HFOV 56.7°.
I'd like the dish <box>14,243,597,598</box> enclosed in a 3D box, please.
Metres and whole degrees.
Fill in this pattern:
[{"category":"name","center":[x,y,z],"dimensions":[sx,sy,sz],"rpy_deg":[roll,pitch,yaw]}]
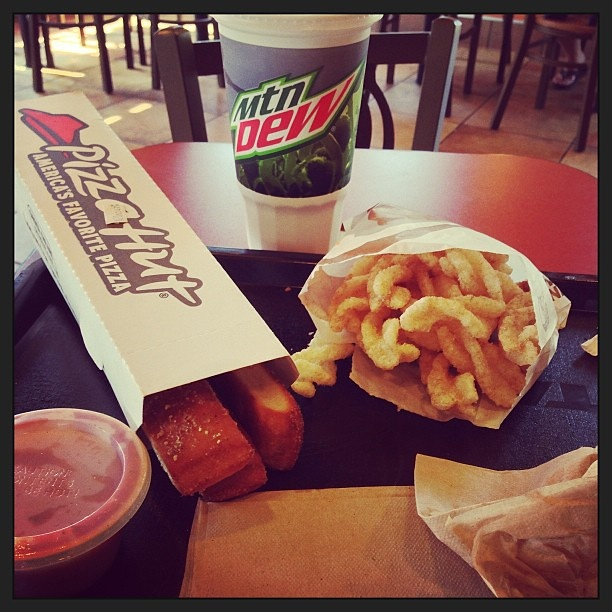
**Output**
[{"category":"dish","center":[0.000,0.135,0.548],"dimensions":[0.403,0.037,0.406],"rpy_deg":[3,27,-6]}]

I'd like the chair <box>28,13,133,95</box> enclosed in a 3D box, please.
[{"category":"chair","center":[-1.306,-1.481,3.178],"dimensions":[0.430,0.257,0.392],"rpy_deg":[-4,20,0]}]

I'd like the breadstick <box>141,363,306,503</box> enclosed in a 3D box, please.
[{"category":"breadstick","center":[-0.067,0.109,0.499],"dimensions":[0.136,0.067,0.106],"rpy_deg":[-15,40,-20]}]

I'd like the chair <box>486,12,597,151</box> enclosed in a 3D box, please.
[{"category":"chair","center":[1.342,-1.228,2.956],"dimensions":[0.518,0.510,0.471],"rpy_deg":[-6,30,-21]}]

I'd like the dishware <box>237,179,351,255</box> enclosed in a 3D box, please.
[{"category":"dishware","center":[-0.011,-0.114,0.725],"dimensions":[0.116,0.075,0.094],"rpy_deg":[-1,32,-9]}]
